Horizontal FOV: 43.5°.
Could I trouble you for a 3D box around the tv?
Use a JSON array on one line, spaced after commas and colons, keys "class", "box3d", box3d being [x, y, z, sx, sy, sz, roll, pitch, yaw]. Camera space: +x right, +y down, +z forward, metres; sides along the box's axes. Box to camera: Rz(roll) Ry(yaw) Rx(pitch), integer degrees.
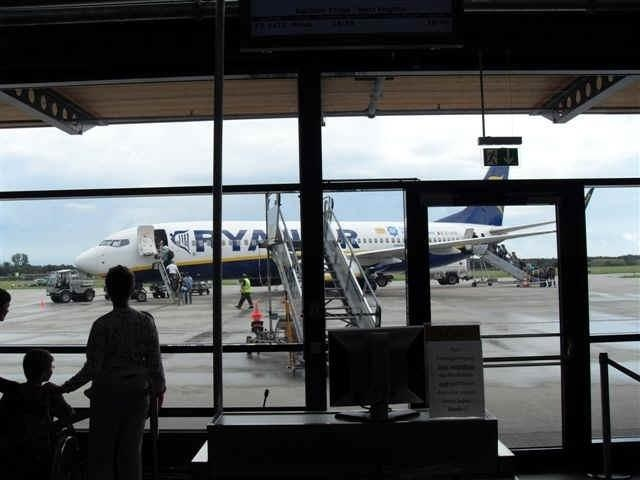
[{"class": "tv", "box3d": [0.412, 0.931, 5.657, 0.684, 0.602, 0.263, 0, -2, -1]}]
